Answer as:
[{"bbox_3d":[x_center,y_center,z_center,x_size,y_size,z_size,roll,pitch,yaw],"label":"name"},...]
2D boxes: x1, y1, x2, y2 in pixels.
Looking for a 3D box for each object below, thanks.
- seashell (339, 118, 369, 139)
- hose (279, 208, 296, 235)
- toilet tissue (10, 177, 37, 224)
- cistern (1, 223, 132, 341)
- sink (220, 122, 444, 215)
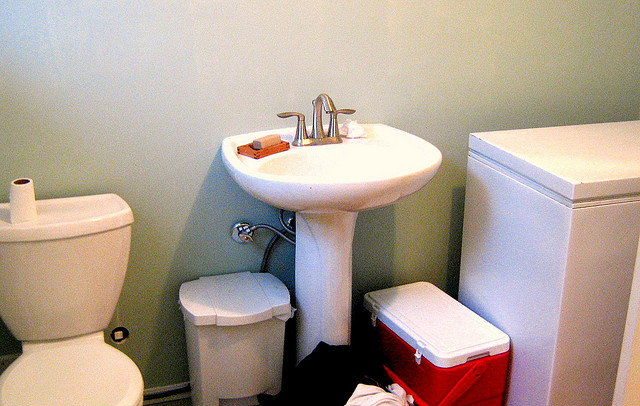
[{"bbox_3d":[0.159,-0.327,2.170,0.125,0.076,0.151,10,22,33],"label":"seashell"},{"bbox_3d":[-0.152,0.081,2.218,0.022,0.099,0.101,-22,8,47],"label":"hose"},{"bbox_3d":[-1.084,-0.003,1.828,0.091,0.139,0.042,-13,22,-27],"label":"toilet tissue"},{"bbox_3d":[-0.989,0.296,2.102,0.488,0.360,0.435,-7,17,-25],"label":"cistern"},{"bbox_3d":[0.041,-0.134,1.932,0.562,0.176,0.463,-9,26,-19],"label":"sink"}]
